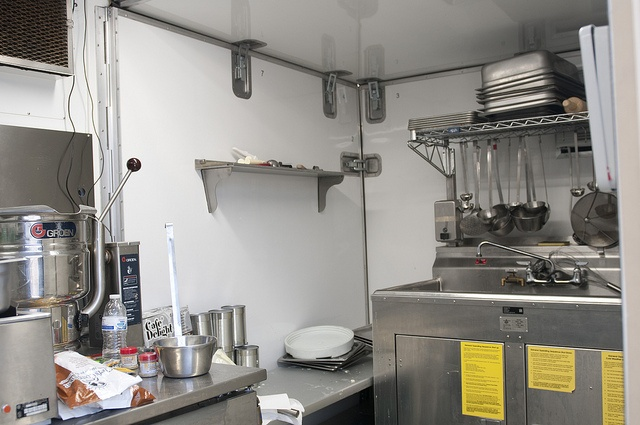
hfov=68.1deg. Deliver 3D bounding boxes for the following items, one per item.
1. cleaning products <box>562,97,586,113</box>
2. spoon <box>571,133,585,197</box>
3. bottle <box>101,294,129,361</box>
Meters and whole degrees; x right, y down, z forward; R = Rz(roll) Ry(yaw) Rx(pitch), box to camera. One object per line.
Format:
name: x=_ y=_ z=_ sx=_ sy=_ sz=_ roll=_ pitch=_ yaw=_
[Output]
cleaning products: x=1.402 y=-0.589 z=2.617 sx=0.113 sy=0.102 sz=0.139 roll=-5 pitch=-1 yaw=27
spoon: x=1.548 y=-0.292 z=2.876 sx=0.071 sy=0.428 sz=0.276 roll=-5 pitch=-1 yaw=28
bottle: x=-0.759 y=0.414 z=1.741 sx=0.097 sy=0.225 sz=0.060 roll=10 pitch=5 yaw=40
